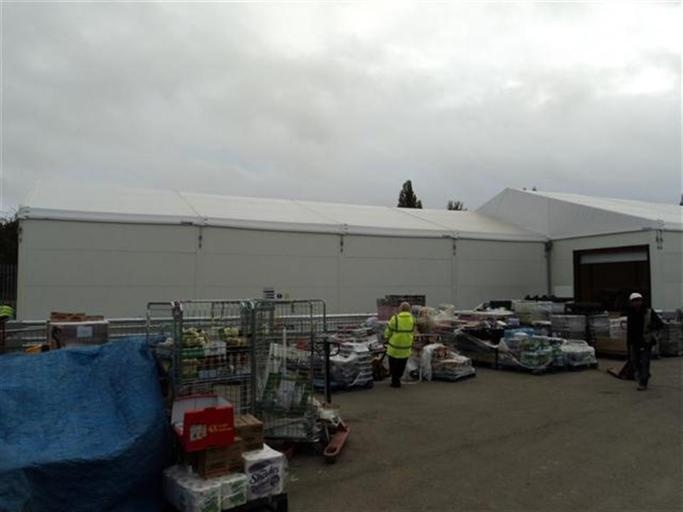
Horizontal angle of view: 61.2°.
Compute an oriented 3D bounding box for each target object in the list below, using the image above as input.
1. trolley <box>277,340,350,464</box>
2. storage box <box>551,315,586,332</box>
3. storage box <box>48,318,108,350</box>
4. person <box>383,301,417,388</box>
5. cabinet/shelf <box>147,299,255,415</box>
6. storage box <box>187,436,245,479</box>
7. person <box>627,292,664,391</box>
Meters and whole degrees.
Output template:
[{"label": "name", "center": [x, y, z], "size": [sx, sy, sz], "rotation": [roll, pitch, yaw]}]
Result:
[{"label": "trolley", "center": [-0.422, 2.203, 9.364], "size": [1.377, 1.655, 1.210], "rotation": [7, 2, 21]}, {"label": "storage box", "center": [7.008, 2.079, 17.996], "size": [0.588, 0.407, 0.611], "rotation": [0, -1, -5]}, {"label": "storage box", "center": [-4.455, 1.333, 9.677], "size": [0.988, 0.412, 0.491], "rotation": [0, 1, -11]}, {"label": "person", "center": [1.312, 2.023, 12.941], "size": [0.604, 1.921, 0.434], "rotation": [0, 1, 13]}, {"label": "cabinet/shelf", "center": [-1.875, 1.362, 8.553], "size": [1.260, 1.793, 1.352], "rotation": [0, 11, -7]}, {"label": "storage box", "center": [-1.609, 2.507, 7.002], "size": [0.467, 0.249, 0.532], "rotation": [1, -25, 16]}, {"label": "person", "center": [6.626, 1.859, 12.609], "size": [0.639, 2.075, 0.862], "rotation": [0, 1, 28]}]
